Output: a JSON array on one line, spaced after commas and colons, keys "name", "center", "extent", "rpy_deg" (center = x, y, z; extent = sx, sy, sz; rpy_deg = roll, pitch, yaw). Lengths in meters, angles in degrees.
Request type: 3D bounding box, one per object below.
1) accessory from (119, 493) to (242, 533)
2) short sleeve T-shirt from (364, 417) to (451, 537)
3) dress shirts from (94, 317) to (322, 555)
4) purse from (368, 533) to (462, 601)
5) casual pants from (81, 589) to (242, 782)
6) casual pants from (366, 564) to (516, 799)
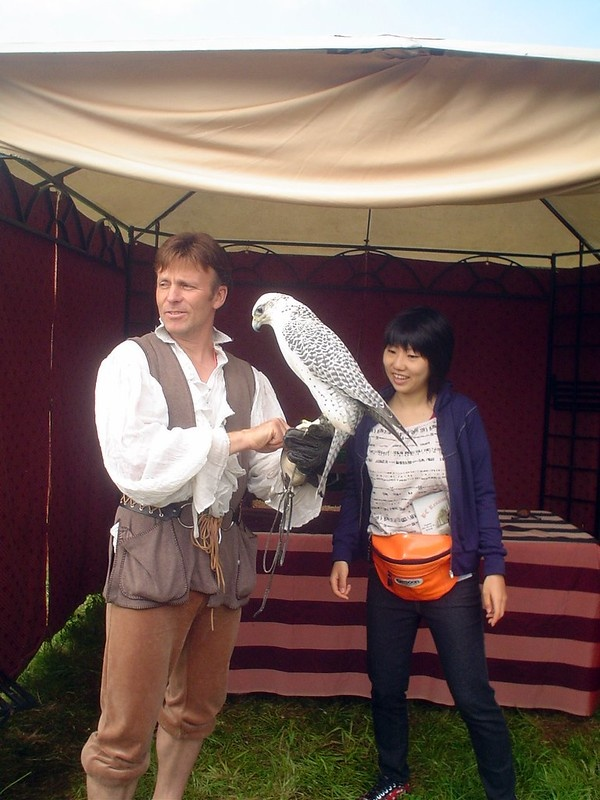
[{"name": "accessory", "center": [-0.331, 0.304, 1.874], "extent": [0.168, 0.044, 0.177], "rpy_deg": [14, -10, 24]}, {"name": "short sleeve T-shirt", "center": [0.358, 0.254, 2.367], "extent": [0.366, 0.489, 0.294], "rpy_deg": [2, 7, 13]}, {"name": "dress shirts", "center": [-0.258, 0.076, 1.979], "extent": [0.404, 0.640, 0.729], "rpy_deg": [-7, -8, 43]}, {"name": "purse", "center": [0.364, 0.538, 2.320], "extent": [0.306, 0.175, 0.309], "rpy_deg": [-5, 6, -33]}, {"name": "casual pants", "center": [-0.385, 0.793, 1.896], "extent": [0.252, 0.552, 0.449], "rpy_deg": [2, 8, 27]}, {"name": "casual pants", "center": [0.448, 0.934, 2.246], "extent": [0.474, 0.730, 0.282], "rpy_deg": [-1, 8, 12]}]
